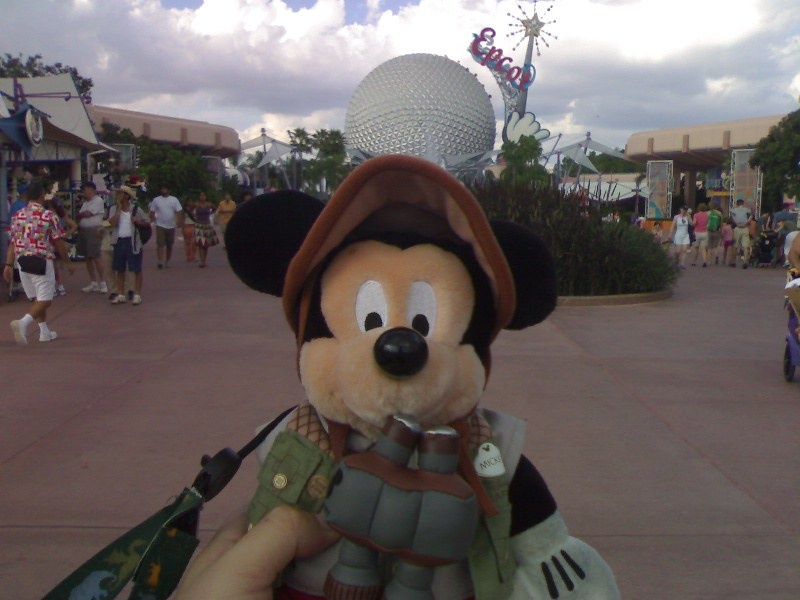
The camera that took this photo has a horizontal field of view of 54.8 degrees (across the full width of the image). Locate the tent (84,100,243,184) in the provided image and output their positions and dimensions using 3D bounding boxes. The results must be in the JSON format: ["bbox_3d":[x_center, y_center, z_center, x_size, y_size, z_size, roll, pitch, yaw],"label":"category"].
[{"bbox_3d":[-21.903,-15.125,75.436,4.618,5.644,22.654,3,10,12],"label":"tent"}]

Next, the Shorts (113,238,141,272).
[{"bbox_3d":[-4.004,-0.669,11.346,0.355,0.492,0.254,-5,-20,-22],"label":"Shorts"}]

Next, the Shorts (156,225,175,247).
[{"bbox_3d":[-4.882,-1.323,16.144,0.299,0.545,0.531,3,3,42],"label":"Shorts"}]

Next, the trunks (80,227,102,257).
[{"bbox_3d":[-5.058,-0.974,12.664,0.348,0.513,0.270,-11,-16,34],"label":"trunks"}]

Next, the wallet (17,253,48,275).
[{"bbox_3d":[-4.324,-0.414,9.046,0.429,0.215,0.190,4,9,15],"label":"wallet"}]
